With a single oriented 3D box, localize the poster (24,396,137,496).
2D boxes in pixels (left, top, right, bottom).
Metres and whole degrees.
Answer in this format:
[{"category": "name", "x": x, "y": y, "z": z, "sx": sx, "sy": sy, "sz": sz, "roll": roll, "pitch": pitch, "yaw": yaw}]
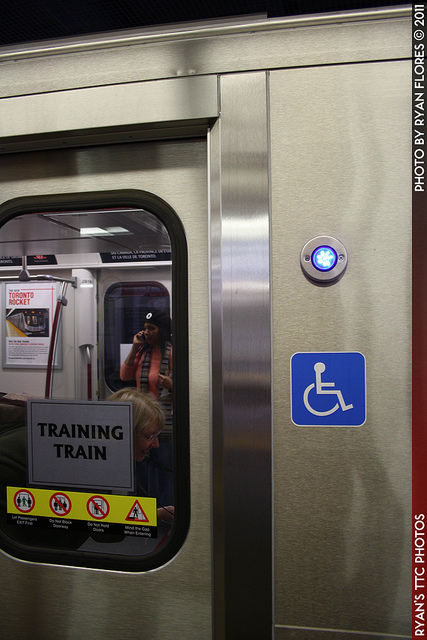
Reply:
[{"category": "poster", "x": -0.358, "y": 0.352, "z": 1.535, "sx": 0.302, "sy": 0.228, "sz": 0.013, "roll": 0, "pitch": -2, "yaw": 13}]
